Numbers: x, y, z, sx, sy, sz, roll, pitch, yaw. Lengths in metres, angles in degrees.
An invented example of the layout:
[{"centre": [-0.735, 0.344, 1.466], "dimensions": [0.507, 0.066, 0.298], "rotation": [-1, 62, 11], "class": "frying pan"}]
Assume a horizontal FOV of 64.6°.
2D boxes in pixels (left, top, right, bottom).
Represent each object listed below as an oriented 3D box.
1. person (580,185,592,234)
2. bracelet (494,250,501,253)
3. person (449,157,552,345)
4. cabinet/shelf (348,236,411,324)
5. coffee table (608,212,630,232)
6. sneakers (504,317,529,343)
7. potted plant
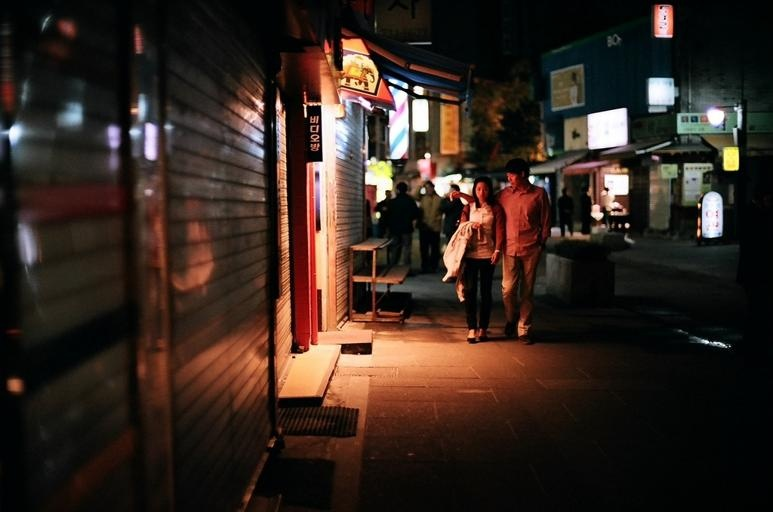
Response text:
[{"centre": [8.005, -1.806, 24.472], "dimensions": [0.348, 1.922, 0.868], "rotation": [1, 6, 17], "class": "person"}, {"centre": [1.524, -0.078, 8.381], "dimensions": [0.051, 0.038, 0.051], "rotation": [-1, 3, -20], "class": "bracelet"}, {"centre": [1.893, -0.083, 8.469], "dimensions": [0.688, 2.520, 0.347], "rotation": [0, 6, 10], "class": "person"}, {"centre": [-0.077, 0.356, 11.578], "dimensions": [0.929, 1.233, 2.561], "rotation": [2, 5, 8], "class": "cabinet/shelf"}, {"centre": [9.821, -1.522, 25.849], "dimensions": [0.798, 0.810, 1.018], "rotation": [0, 6, 9], "class": "coffee table"}, {"centre": [1.868, 1.081, 8.740], "dimensions": [0.138, 0.193, 0.452], "rotation": [-2, -12, -4], "class": "sneakers"}, {"centre": [3.854, 0.274, 12.195], "dimensions": [0.864, 1.168, 1.782], "rotation": [0, 3, 1], "class": "potted plant"}]
